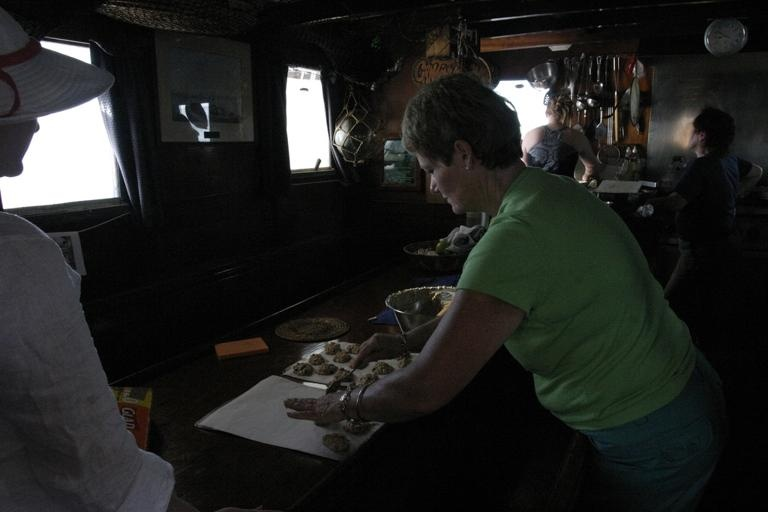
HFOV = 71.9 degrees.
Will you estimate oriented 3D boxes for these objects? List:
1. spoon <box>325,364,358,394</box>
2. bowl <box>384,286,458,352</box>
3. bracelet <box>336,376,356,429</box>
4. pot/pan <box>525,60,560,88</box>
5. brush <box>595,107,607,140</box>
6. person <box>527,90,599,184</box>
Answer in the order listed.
[{"bbox_3d":[-0.149,0.433,1.853,0.085,0.020,0.088,-6,12,24],"label":"spoon"},{"bbox_3d":[0.133,0.227,2.044,0.256,0.117,0.258,-4,4,0],"label":"bowl"},{"bbox_3d":[-0.105,0.413,1.511,0.058,0.139,0.104,7,-30,2],"label":"bracelet"},{"bbox_3d":[1.527,-1.714,5.127,0.288,0.163,0.274,0,-6,-2],"label":"pot/pan"},{"bbox_3d":[2.140,-1.318,5.182,0.109,0.275,0.049,-1,12,13],"label":"brush"},{"bbox_3d":[1.366,-0.841,4.103,0.573,0.764,0.543,9,7,39],"label":"person"}]
